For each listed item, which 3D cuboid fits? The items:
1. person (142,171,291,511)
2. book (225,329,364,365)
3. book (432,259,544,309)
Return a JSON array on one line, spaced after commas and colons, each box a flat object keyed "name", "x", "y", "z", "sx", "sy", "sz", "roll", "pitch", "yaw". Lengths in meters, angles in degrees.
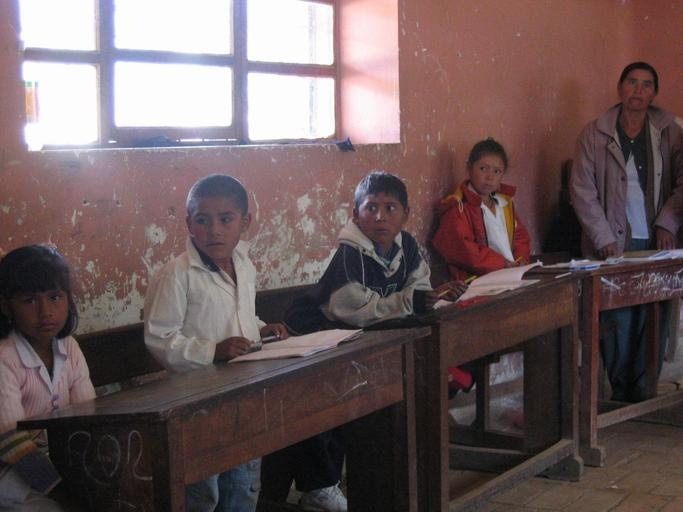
[{"name": "person", "x": -0.390, "y": 0.270, "z": 1.962, "sx": 0.450, "sy": 1.052, "sz": 0.441, "roll": -9, "pitch": 9, "yaw": -30}, {"name": "book", "x": -0.137, "y": 0.266, "z": 1.859, "sx": 0.332, "sy": 0.028, "sz": 0.305, "roll": -3, "pitch": 8, "yaw": 16}, {"name": "book", "x": 0.624, "y": 0.118, "z": 2.550, "sx": 0.242, "sy": 0.064, "sz": 0.228, "roll": -26, "pitch": 3, "yaw": -6}]
